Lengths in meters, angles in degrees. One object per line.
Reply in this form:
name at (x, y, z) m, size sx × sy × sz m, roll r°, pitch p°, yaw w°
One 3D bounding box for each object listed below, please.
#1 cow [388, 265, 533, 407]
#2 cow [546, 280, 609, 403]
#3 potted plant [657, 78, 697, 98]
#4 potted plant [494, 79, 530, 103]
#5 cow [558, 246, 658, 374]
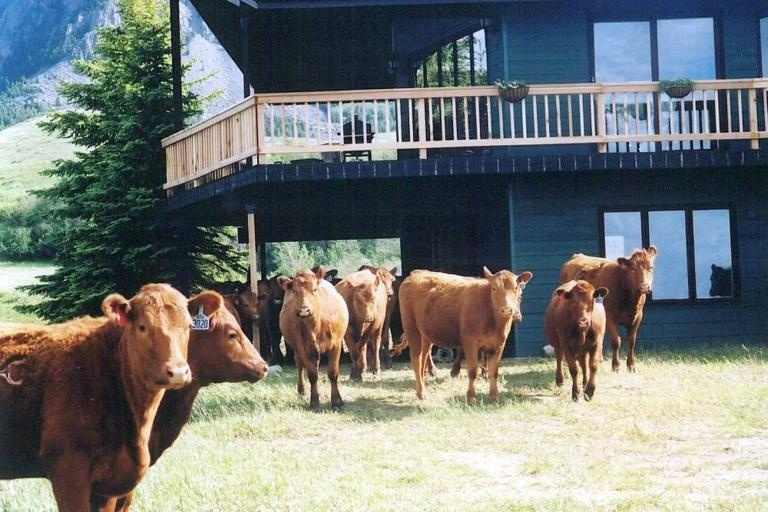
cow at (2.055, 1.949, 28.985) m, size 1.732 × 3.394 × 4.274 m, roll -1°, pitch -3°, yaw -40°
cow at (4.654, 2.073, 28.312) m, size 1.112 × 2.920 × 1.692 m, roll 1°, pitch -9°, yaw -13°
potted plant at (7.739, -4.494, 30.898) m, size 0.592 × 0.293 × 0.627 m, roll 1°, pitch -5°, yaw -5°
potted plant at (3.338, -4.465, 30.910) m, size 0.604 × 0.484 × 0.668 m, roll 1°, pitch -3°, yaw -2°
cow at (6.030, 1.405, 30.841) m, size 1.441 × 3.305 × 4.935 m, roll 1°, pitch 2°, yaw -10°
